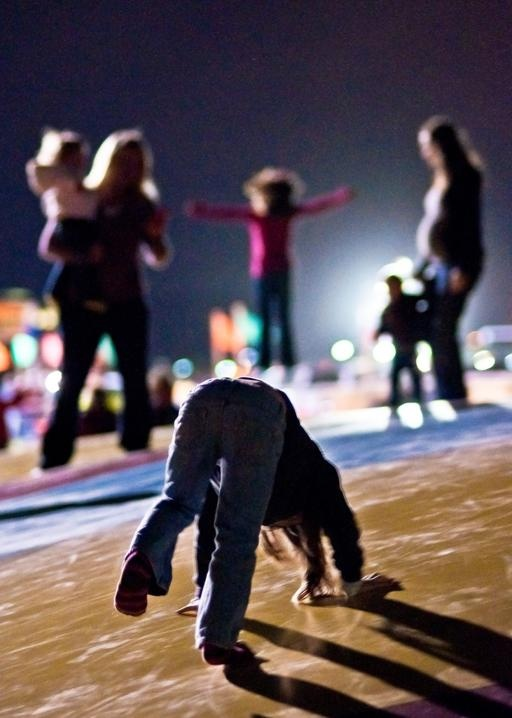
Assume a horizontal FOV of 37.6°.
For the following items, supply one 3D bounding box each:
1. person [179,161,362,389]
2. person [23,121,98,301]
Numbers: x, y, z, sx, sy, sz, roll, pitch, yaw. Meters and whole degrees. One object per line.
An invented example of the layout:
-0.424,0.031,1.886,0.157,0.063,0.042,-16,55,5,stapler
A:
0.164,-0.483,4.411,0.949,1.262,0.413,-11,11,-3,person
-0.787,-0.612,3.109,0.298,0.692,0.401,-13,10,-9,person
